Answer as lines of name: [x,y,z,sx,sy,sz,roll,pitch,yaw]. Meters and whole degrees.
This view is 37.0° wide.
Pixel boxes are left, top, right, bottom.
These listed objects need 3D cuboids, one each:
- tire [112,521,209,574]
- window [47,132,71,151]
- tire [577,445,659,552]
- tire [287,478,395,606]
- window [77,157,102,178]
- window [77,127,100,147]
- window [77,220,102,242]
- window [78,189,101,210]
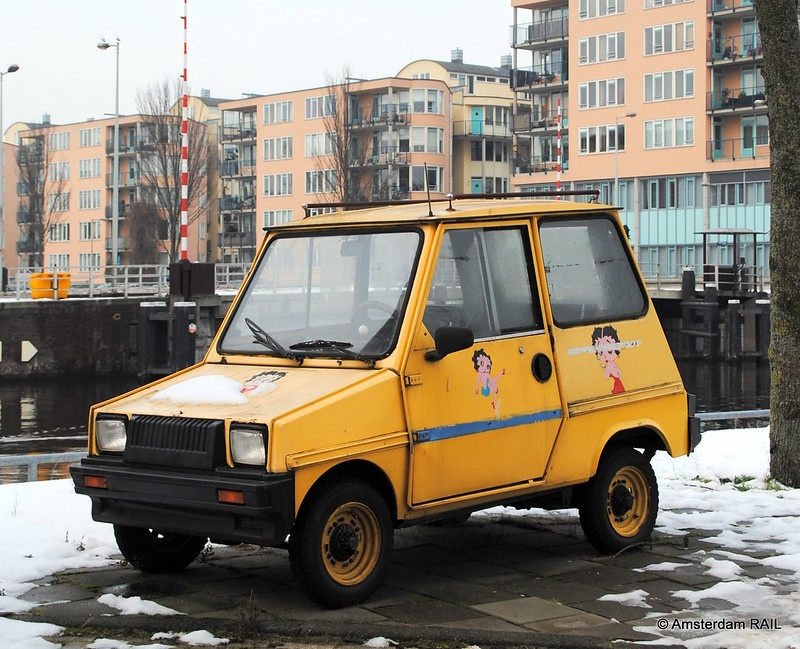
tire: [-1.688,1.570,8.433,0.590,0.524,0.207,-4,1,-37]
window: [-27.637,-15.071,97.481,2.645,1.484,0.183,-1,-9,36]
tire: [1.677,1.369,9.337,0.862,0.819,0.272,-8,4,-35]
tire: [-0.395,1.399,7.754,0.932,0.914,0.319,-5,9,-35]
window: [-24.744,-12.784,95.977,2.140,1.174,0.062,3,-2,38]
window: [-24.705,-15.228,95.600,0.097,1.155,2.102,-5,4,-42]
window: [-24.924,-7.775,96.698,2.148,1.147,0.109,3,-2,39]
window: [-24.790,-10.248,96.282,2.141,1.229,0.075,3,-1,35]
